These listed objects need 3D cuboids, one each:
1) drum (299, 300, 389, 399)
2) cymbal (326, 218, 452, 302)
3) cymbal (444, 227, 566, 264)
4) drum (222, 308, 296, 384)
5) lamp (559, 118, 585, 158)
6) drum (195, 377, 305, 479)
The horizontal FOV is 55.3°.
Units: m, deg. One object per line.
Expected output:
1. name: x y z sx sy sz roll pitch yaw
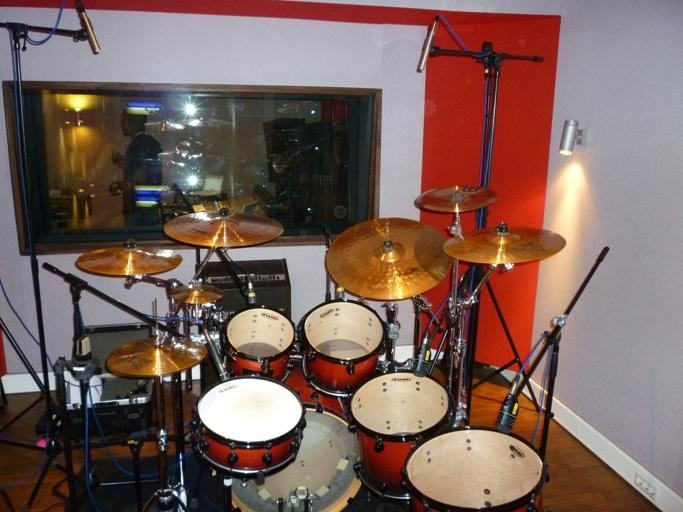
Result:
1. drum: 0.013 0.576 4.129 0.536 0.339 0.541 3 46 -3
2. cymbal: 0.285 0.008 3.967 0.737 0.359 0.540 -3 17 -4
3. cymbal: 0.890 -0.075 3.595 0.639 0.213 0.368 1 18 8
4. drum: -0.534 0.551 4.124 0.439 0.333 0.422 8 43 -7
5. lamp: 1.520 -0.765 4.267 0.156 0.248 0.231 4 19 18
6. drum: -0.494 0.921 3.575 0.591 0.339 0.498 -3 17 -3
